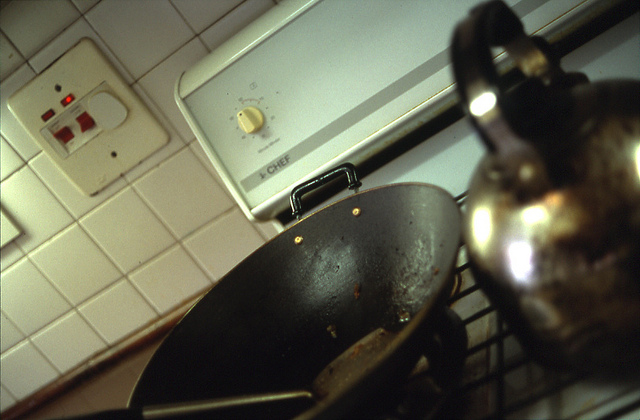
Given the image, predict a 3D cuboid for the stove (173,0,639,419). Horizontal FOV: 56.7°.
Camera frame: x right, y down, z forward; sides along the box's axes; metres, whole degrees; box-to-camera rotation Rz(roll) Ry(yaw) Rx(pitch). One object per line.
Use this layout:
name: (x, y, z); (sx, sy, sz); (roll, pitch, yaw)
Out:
stove: (0.163, -0.006, 1.023); (0.399, 0.733, 0.373); (-37, -4, 19)

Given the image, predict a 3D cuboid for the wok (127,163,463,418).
wok: (-0.009, 0.154, 1.060); (0.401, 0.166, 0.501); (-22, 29, 47)

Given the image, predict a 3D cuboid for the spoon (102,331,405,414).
spoon: (-0.098, 0.282, 1.016); (0.326, 0.049, 0.193); (-18, -7, -12)

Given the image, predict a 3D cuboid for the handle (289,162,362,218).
handle: (0.010, -0.046, 1.211); (0.168, 0.084, 0.041); (-25, -10, 5)
